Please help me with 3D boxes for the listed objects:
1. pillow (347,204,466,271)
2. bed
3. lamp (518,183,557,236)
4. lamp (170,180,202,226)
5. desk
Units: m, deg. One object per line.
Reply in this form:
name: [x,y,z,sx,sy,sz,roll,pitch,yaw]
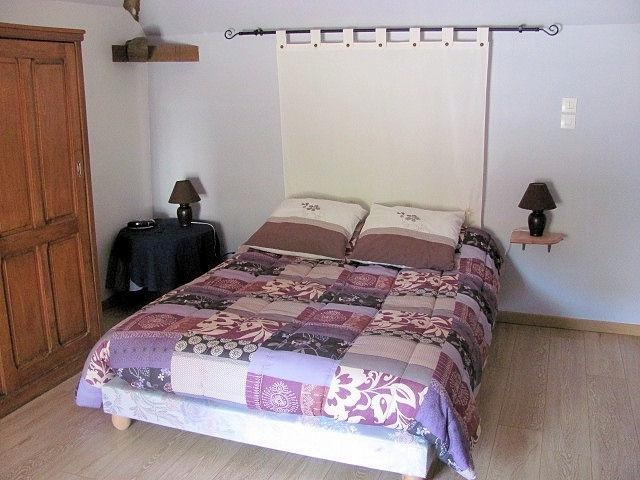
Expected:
pillow: [0.668,-0.048,3.427,0.580,0.154,0.541,5,37,19]
bed: [-0.088,0.611,2.376,1.393,0.369,1.393,8,23,21]
lamp: [1.646,-0.233,3.490,0.261,0.385,0.275,-8,20,-10]
lamp: [-1.161,-0.337,4.131,0.227,0.390,0.349,0,19,2]
desk: [-1.267,0.131,3.885,0.689,0.377,0.692,13,21,37]
